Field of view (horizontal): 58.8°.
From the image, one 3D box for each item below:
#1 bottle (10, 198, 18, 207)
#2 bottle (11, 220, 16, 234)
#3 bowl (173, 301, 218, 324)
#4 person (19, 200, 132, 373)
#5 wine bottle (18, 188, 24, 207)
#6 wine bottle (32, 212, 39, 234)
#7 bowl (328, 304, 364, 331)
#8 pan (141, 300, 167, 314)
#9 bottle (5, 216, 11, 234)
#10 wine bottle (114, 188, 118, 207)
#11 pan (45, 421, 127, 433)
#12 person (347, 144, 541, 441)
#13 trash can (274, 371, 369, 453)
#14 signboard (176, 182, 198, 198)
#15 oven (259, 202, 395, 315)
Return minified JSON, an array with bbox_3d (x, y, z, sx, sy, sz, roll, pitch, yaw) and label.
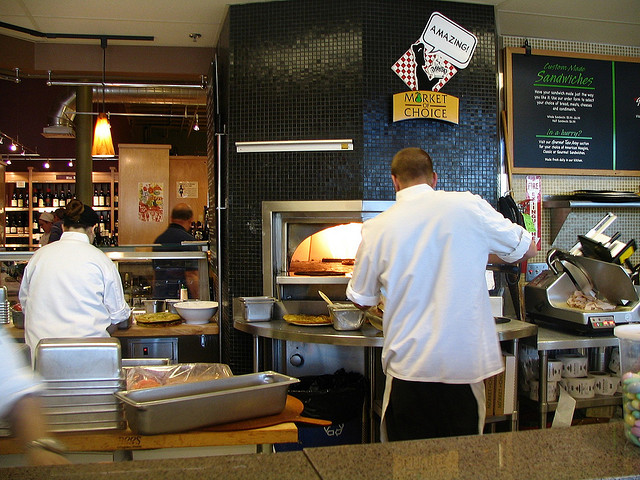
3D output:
[{"bbox_3d":[-5.934,-0.714,10.984,0.220,0.168,0.086,2,4,36],"label":"bottle"},{"bbox_3d":[-5.900,-0.256,10.954,0.076,0.227,0.428,-2,4,-28],"label":"bottle"},{"bbox_3d":[-1.048,0.623,4.806,0.366,0.172,0.256,-1,4,-12],"label":"bowl"},{"bbox_3d":[-1.571,0.273,3.499,0.667,1.014,0.456,0,3,10],"label":"person"},{"bbox_3d":[-5.781,-0.813,11.007,0.092,0.362,0.136,-1,3,-15],"label":"wine bottle"},{"bbox_3d":[-5.504,-0.315,11.000,0.109,0.410,0.174,-3,4,-40],"label":"wine bottle"},{"bbox_3d":[0.182,0.514,3.759,0.185,0.158,0.236,1,-4,-11],"label":"bowl"},{"bbox_3d":[-1.455,0.572,4.891,0.231,0.106,0.109,1,4,18],"label":"pan"},{"bbox_3d":[-6.000,-0.284,10.939,0.095,0.326,0.504,-2,4,-28],"label":"bottle"},{"bbox_3d":[-3.946,-0.812,10.988,0.033,0.363,0.192,-1,3,-9],"label":"wine bottle"},{"bbox_3d":[-1.018,0.820,2.492,0.326,0.046,0.033,-1,3,-12],"label":"pan"},{"bbox_3d":[0.578,0.293,2.934,0.867,1.539,0.412,0,3,16],"label":"person"},{"bbox_3d":[0.027,1.480,4.133,0.583,0.943,0.571,11,-18,-29],"label":"trash can"},{"bbox_3d":[-2.363,-0.870,10.035,0.270,0.209,0.011,-1,-2,-7],"label":"signboard"},{"bbox_3d":[0.117,0.169,4.638,1.076,0.948,0.597,1,4,11],"label":"oven"}]
